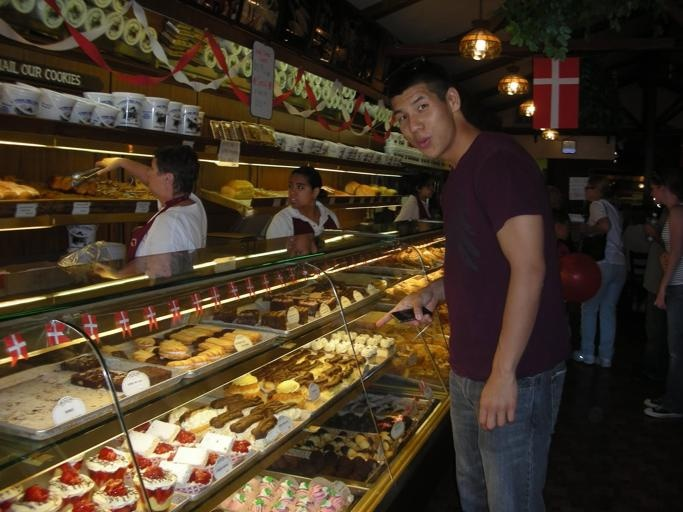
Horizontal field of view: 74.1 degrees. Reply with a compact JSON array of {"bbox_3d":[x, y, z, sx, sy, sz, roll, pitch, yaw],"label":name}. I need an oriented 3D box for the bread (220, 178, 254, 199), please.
[{"bbox_3d":[-1.031,-0.681,4.620,0.293,0.112,0.270,-7,14,-38],"label":"bread"}]

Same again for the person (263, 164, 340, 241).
[{"bbox_3d":[-0.303,-0.451,4.090,0.817,0.618,0.405,6,5,28],"label":"person"}]

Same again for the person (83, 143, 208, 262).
[{"bbox_3d":[-1.271,-0.368,2.930,0.652,0.901,0.524,20,28,-2],"label":"person"}]
